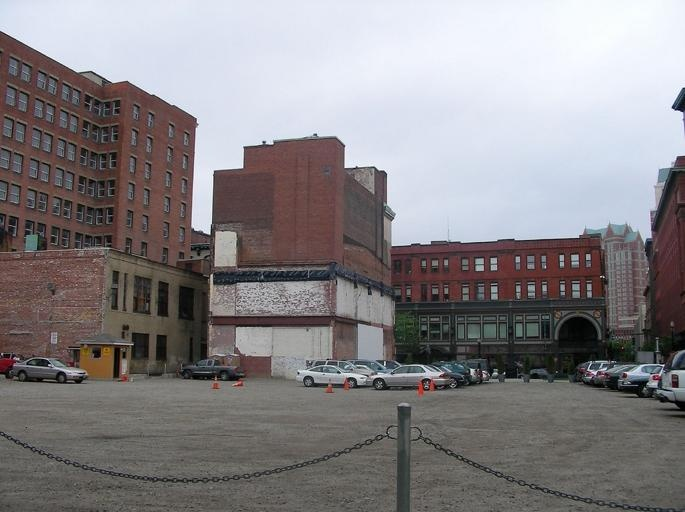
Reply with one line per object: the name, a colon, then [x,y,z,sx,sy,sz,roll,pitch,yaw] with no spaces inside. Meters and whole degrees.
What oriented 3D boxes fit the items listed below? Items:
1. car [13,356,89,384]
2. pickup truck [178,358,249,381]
car: [-19.094,7.401,42.503,5.447,1.639,1.662,-6,-14,21]
pickup truck: [-10.544,9.200,53.153,5.889,1.973,1.401,-8,-14,29]
